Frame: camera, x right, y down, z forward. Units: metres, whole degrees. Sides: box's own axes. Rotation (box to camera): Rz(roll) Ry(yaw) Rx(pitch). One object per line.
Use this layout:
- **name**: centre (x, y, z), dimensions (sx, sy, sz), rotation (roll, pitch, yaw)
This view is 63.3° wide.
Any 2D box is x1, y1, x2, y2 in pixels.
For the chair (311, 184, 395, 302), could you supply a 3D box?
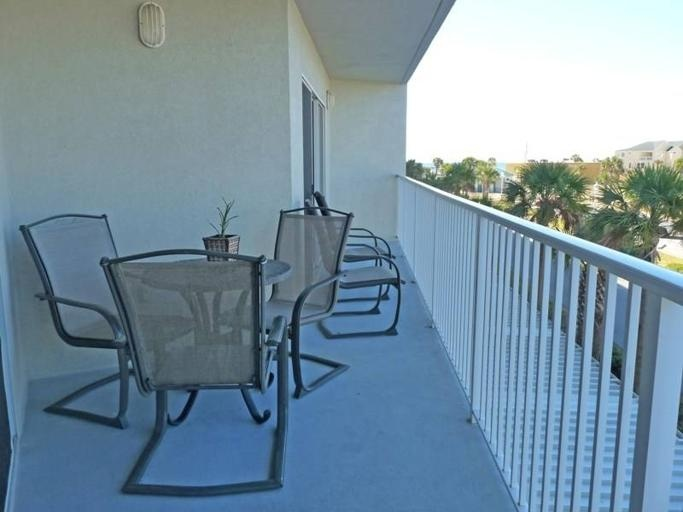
- **chair**: centre (0.162, 0.013, 5.548), dimensions (0.808, 1.208, 0.660), rotation (-4, 33, -16)

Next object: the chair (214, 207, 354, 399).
- **chair**: centre (-0.337, 0.283, 3.764), dimensions (0.704, 1.181, 0.627), rotation (12, 16, 39)

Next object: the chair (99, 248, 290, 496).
- **chair**: centre (-0.738, 0.509, 2.942), dimensions (0.761, 1.299, 0.917), rotation (-2, 11, -9)

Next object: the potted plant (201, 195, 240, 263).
- **potted plant**: centre (-0.860, -0.207, 3.896), dimensions (0.197, 0.394, 0.181), rotation (6, 16, 1)

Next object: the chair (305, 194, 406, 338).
- **chair**: centre (0.169, 0.081, 4.424), dimensions (0.737, 1.007, 0.719), rotation (12, 19, 19)
